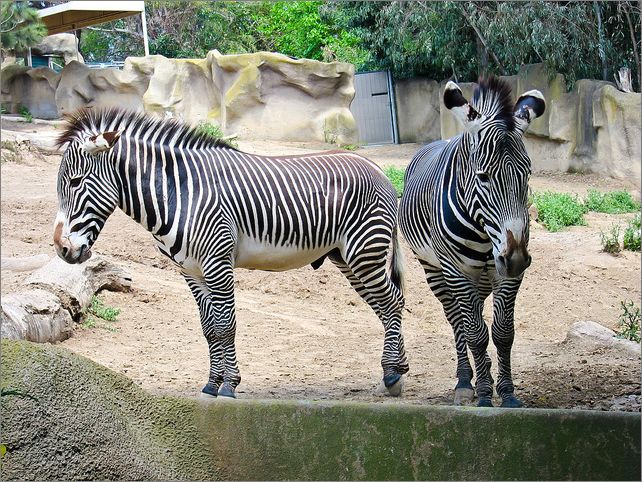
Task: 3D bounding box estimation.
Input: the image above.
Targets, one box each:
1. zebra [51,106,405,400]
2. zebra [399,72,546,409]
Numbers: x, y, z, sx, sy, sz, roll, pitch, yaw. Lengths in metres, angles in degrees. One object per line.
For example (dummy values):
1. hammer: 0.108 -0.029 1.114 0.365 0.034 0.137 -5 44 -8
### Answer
1. zebra: -0.728 0.134 7.286 3.330 2.569 0.956 1 -5 -13
2. zebra: 1.285 0.053 6.726 0.731 2.796 1.650 -1 4 -10
